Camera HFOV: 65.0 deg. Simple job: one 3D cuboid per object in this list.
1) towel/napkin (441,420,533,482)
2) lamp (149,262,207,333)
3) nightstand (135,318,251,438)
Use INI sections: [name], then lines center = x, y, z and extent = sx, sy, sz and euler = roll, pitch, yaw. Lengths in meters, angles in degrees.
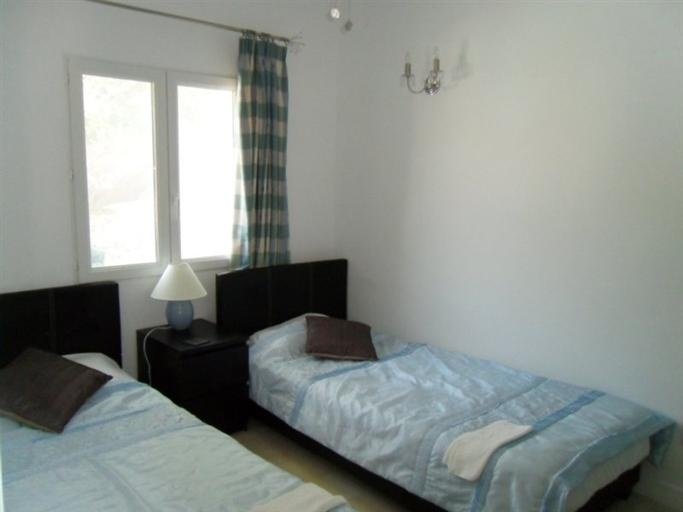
[towel/napkin]
center = 0.755, 0.997, 2.862
extent = 0.352, 0.113, 0.259
euler = -21, 13, -36
[lamp]
center = -1.133, 0.273, 3.843
extent = 0.424, 0.520, 0.425
euler = -5, 12, -22
[nightstand]
center = -0.961, 0.721, 3.921
extent = 0.745, 0.891, 0.622
euler = 12, 15, 39
